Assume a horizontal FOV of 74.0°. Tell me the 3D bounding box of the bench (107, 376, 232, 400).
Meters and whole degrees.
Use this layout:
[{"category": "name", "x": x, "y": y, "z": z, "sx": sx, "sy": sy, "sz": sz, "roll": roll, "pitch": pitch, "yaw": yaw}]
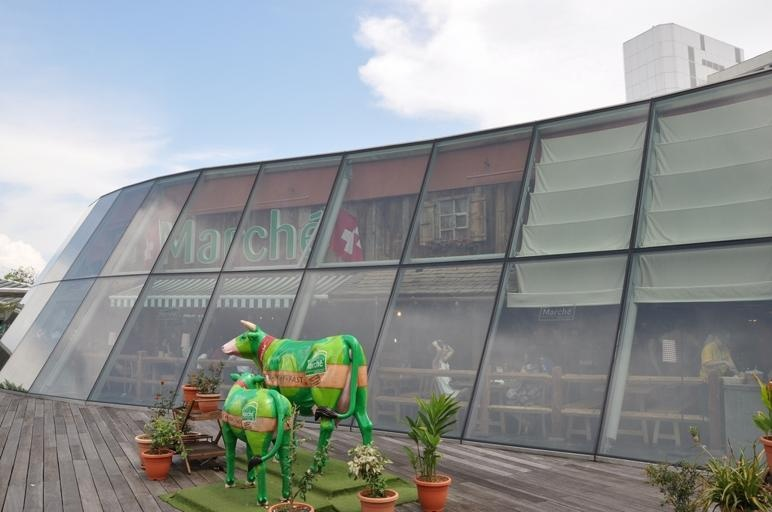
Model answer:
[{"category": "bench", "x": -5.365, "y": 3.292, "z": 12.823, "sx": 2.388, "sy": 0.855, "sz": 0.097, "roll": -3, "pitch": -23, "yaw": 7}]
